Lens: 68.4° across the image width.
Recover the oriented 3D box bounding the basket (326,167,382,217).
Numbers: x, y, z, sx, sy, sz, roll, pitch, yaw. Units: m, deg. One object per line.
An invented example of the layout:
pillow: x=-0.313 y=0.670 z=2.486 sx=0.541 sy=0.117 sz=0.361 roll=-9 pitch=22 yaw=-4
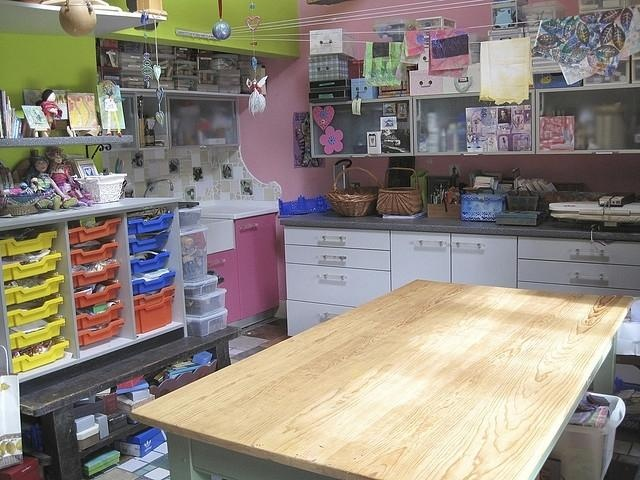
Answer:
basket: x=0.365 y=-0.474 z=4.581 sx=0.478 sy=0.395 sz=0.558 roll=0 pitch=8 yaw=22

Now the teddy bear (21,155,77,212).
teddy bear: x=-1.671 y=-0.337 z=2.872 sx=0.429 sy=0.284 sz=0.278 roll=18 pitch=15 yaw=34

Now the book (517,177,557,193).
book: x=1.774 y=-0.436 z=3.905 sx=0.218 sy=0.071 sz=0.155 roll=1 pitch=3 yaw=36

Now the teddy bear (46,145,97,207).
teddy bear: x=-1.633 y=-0.470 z=3.118 sx=0.323 sy=0.166 sz=0.489 roll=5 pitch=-25 yaw=-28

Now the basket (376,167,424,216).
basket: x=0.730 y=-0.418 z=4.245 sx=0.386 sy=0.448 sz=0.505 roll=0 pitch=1 yaw=21
